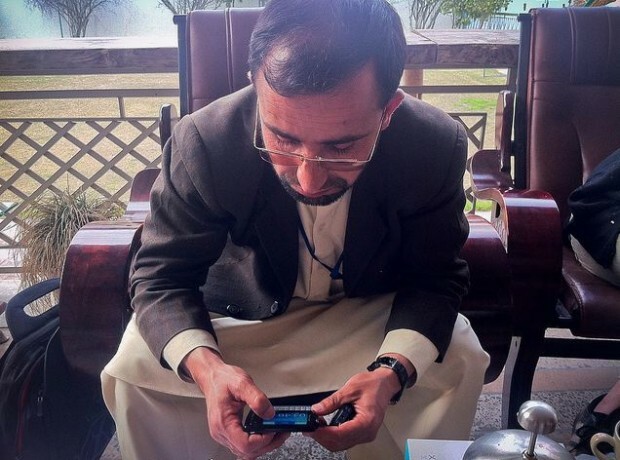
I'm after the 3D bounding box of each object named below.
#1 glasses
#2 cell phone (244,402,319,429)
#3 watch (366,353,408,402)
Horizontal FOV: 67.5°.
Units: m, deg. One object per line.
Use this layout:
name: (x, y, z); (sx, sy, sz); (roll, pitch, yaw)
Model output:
glasses: (0.024, -0.227, 1.193); (0.335, 0.154, 0.180); (-5, 24, -7)
cell phone: (-0.065, 0.428, 1.062); (0.122, 0.019, 0.075); (1, 25, 3)
watch: (0.196, 0.378, 1.200); (0.097, 0.098, 0.058); (12, 26, 29)
